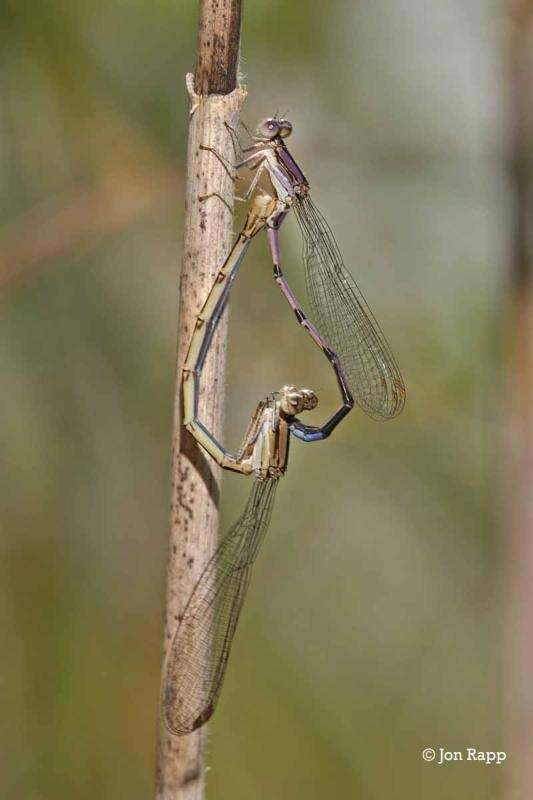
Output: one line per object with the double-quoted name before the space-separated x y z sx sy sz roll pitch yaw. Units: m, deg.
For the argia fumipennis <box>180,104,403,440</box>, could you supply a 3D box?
"argia fumipennis" 0.037 -0.209 1.999 0.289 0.525 0.600 -7 -77 41
